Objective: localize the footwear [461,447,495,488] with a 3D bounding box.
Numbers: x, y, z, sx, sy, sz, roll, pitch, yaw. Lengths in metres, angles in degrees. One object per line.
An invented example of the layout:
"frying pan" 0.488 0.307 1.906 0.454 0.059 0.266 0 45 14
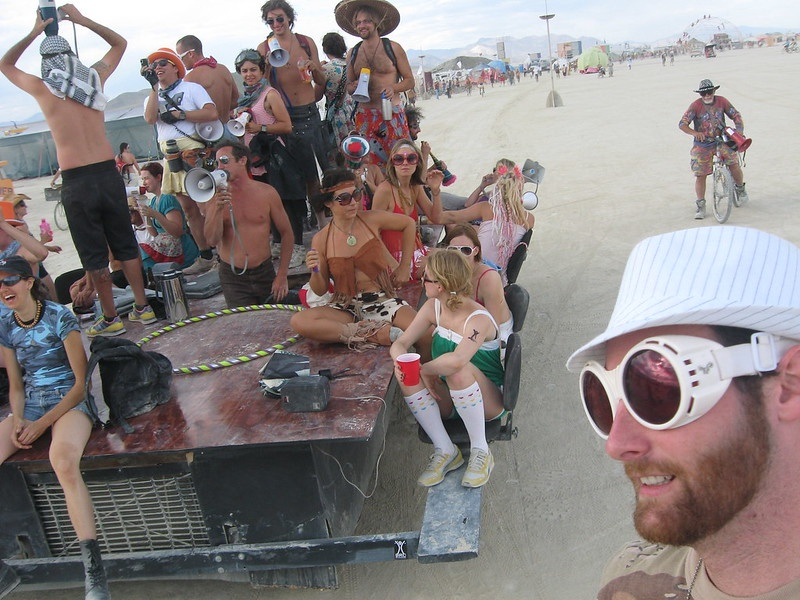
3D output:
"footwear" 0.480 1.052 3.872 0.162 0.155 0.267 -2 20 15

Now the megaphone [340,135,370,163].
"megaphone" -0.525 -1.740 7.099 0.278 0.296 0.256 -9 20 -3

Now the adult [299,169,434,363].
"adult" -0.381 -0.355 5.436 1.522 1.732 1.404 -2 19 -2

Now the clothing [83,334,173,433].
"clothing" -1.911 0.588 4.279 0.495 0.644 0.309 -13 -10 8

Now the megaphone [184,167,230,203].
"megaphone" -1.712 -1.025 5.439 0.327 0.272 0.335 17 14 41

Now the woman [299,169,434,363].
"woman" -0.384 -0.402 5.433 1.522 1.732 1.404 -2 19 -2

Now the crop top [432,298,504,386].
"crop top" 0.531 0.272 4.543 0.575 0.833 0.657 -4 -1 9

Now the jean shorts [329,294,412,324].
"jean shorts" -0.304 0.070 5.171 0.509 0.140 0.300 -6 12 9

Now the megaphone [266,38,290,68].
"megaphone" -1.510 -2.981 7.427 0.206 0.324 0.318 -24 61 -26

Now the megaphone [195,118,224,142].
"megaphone" -2.249 -1.988 7.232 0.295 0.274 0.208 5 -5 -32

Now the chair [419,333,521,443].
"chair" 0.502 0.597 4.472 0.874 0.856 0.602 -1 9 9

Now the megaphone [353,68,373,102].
"megaphone" -0.504 -2.679 7.683 0.250 0.401 0.296 -10 21 -3
